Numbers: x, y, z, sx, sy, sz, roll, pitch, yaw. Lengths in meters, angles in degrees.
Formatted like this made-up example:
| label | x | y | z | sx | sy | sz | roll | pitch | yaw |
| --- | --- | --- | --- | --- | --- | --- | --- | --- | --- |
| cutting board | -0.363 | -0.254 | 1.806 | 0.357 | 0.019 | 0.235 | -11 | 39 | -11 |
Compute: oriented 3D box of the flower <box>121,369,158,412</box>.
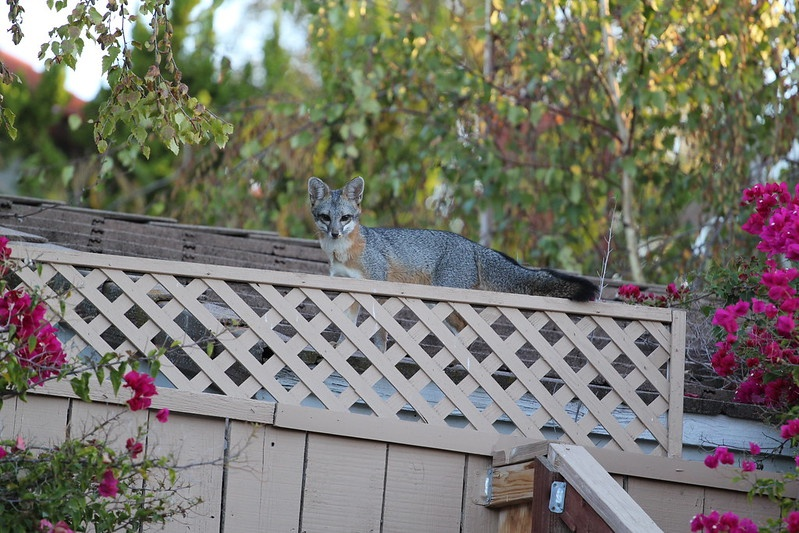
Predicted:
| label | x | y | z | sx | sy | sz | roll | pitch | yaw |
| --- | --- | --- | --- | --- | --- | --- | --- | --- | --- |
| flower | -2.054 | 0.987 | 15.204 | 0.261 | 0.309 | 0.389 | 3 | -4 | -8 |

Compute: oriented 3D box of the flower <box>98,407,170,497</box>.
| label | x | y | z | sx | sy | sz | roll | pitch | yaw |
| --- | --- | --- | --- | --- | --- | --- | --- | --- | --- |
| flower | -2.127 | 1.502 | 15.376 | 0.240 | 0.709 | 0.263 | 17 | -19 | 44 |
